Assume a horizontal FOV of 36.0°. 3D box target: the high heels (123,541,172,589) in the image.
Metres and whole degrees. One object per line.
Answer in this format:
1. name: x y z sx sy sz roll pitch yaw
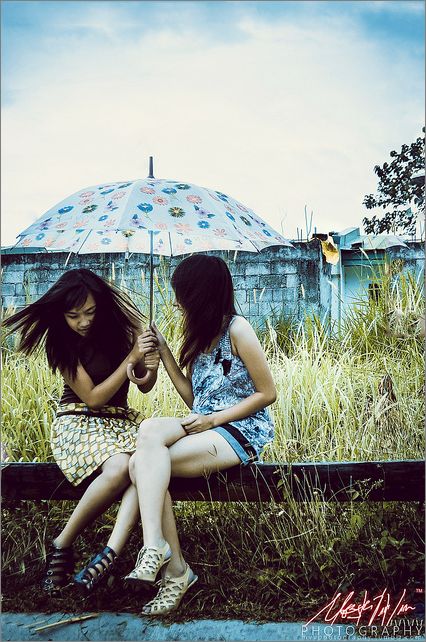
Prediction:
1. high heels: -0.189 0.736 1.998 0.070 0.088 0.189 -12 4 26

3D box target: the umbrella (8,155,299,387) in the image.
1. umbrella: -0.257 -0.287 2.653 0.959 0.702 0.899 0 0 35

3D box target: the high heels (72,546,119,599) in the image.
1. high heels: -0.354 0.768 2.080 0.066 0.075 0.212 36 34 3

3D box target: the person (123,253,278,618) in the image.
1. person: -0.120 0.366 2.313 0.447 1.189 0.698 2 7 44
